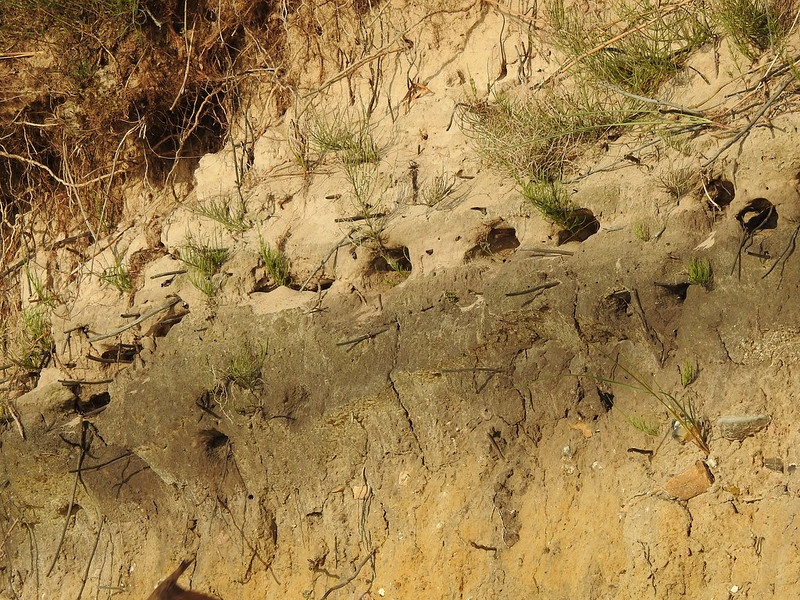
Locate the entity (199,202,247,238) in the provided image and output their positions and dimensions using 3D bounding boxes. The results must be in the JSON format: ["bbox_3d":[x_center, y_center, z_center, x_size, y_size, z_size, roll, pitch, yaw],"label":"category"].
[{"bbox_3d":[-1.314,-0.594,11.925,0.324,0.233,0.152,32,98,17],"label":"entity"}]

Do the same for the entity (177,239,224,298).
[{"bbox_3d":[-1.458,-0.277,11.715,0.304,0.426,0.140,-28,18,-24],"label":"entity"}]

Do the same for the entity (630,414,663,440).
[{"bbox_3d":[1.683,0.849,10.791,0.074,0.179,0.139,176,108,-75],"label":"entity"}]

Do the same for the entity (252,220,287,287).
[{"bbox_3d":[-0.936,-0.345,11.627,0.133,0.157,0.461,-25,66,17],"label":"entity"}]

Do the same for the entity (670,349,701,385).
[{"bbox_3d":[1.962,0.457,10.769,0.168,0.147,0.148,-24,34,10],"label":"entity"}]

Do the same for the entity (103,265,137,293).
[{"bbox_3d":[-2.125,-0.163,11.999,0.208,0.094,0.222,-46,-5,-17],"label":"entity"}]

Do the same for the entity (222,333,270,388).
[{"bbox_3d":[-1.067,0.459,11.292,0.347,0.232,0.214,-37,34,-6],"label":"entity"}]
